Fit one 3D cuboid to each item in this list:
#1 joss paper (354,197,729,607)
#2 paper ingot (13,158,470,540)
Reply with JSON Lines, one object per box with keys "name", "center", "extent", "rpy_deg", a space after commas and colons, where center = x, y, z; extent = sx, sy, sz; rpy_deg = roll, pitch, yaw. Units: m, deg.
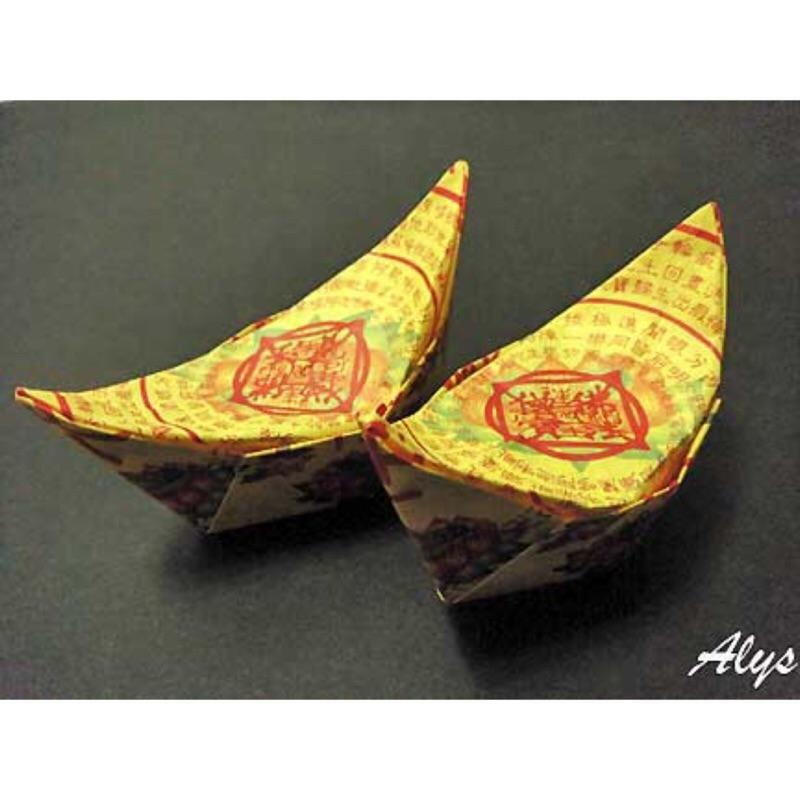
{"name": "joss paper", "center": [0.236, 0.002, 1.366], "extent": [0.334, 0.234, 0.614], "rpy_deg": [32, 57, 33]}
{"name": "paper ingot", "center": [-0.167, -0.038, 1.344], "extent": [0.591, 0.212, 0.559], "rpy_deg": [7, 35, 42]}
